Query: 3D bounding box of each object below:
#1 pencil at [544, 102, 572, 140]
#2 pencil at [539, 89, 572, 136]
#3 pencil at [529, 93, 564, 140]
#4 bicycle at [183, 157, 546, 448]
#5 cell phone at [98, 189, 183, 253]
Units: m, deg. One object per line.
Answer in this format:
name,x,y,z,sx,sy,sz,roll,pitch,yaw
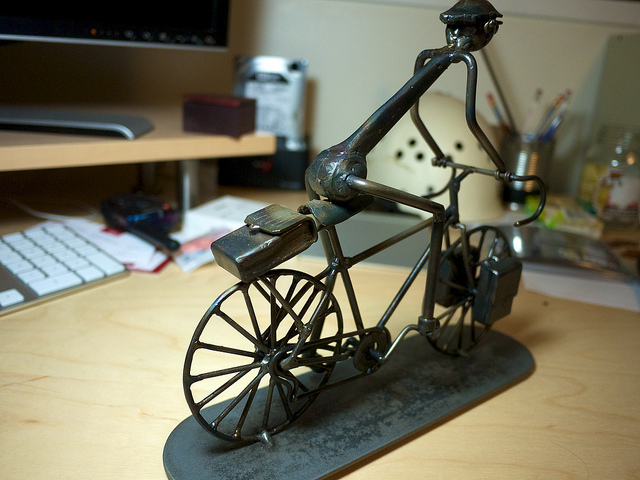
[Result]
pencil,0.421,-0.215,1.047,0.018,0.089,0.014,17,28,-20
pencil,0.419,-0.231,1.052,0.016,0.120,0.016,17,36,-15
pencil,0.406,-0.223,1.056,0.016,0.124,0.016,20,38,-6
bicycle,0.066,0.057,0.636,0.449,0.249,0.170,-13,18,-31
cell phone,-0.283,-0.037,0.929,0.097,0.045,0.184,-21,8,11
